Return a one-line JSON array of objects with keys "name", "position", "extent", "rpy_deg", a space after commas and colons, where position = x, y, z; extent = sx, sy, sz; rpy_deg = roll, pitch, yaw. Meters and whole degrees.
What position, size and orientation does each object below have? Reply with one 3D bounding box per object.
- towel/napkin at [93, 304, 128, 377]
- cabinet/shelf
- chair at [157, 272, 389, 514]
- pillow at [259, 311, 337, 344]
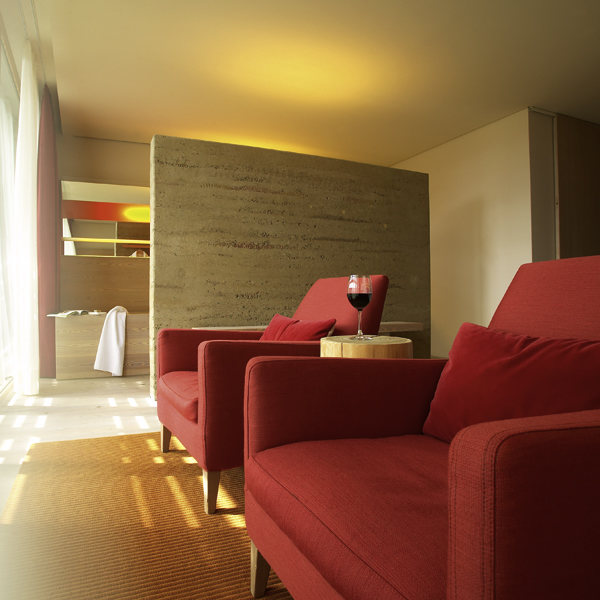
[{"name": "towel/napkin", "position": [-1.816, 0.340, 4.730], "extent": [0.339, 0.914, 0.166], "rpy_deg": [3, -28, -28]}, {"name": "cabinet/shelf", "position": [-2.246, -0.715, 5.733], "extent": [0.925, 0.424, 0.100], "rpy_deg": [0, 2, -19]}, {"name": "chair", "position": [-0.196, 0.344, 2.224], "extent": [0.953, 0.987, 1.066], "rpy_deg": [3, -1, -1]}, {"name": "pillow", "position": [-0.017, 0.111, 2.192], "extent": [0.106, 0.120, 0.267], "rpy_deg": [-9, 0, -39]}]
